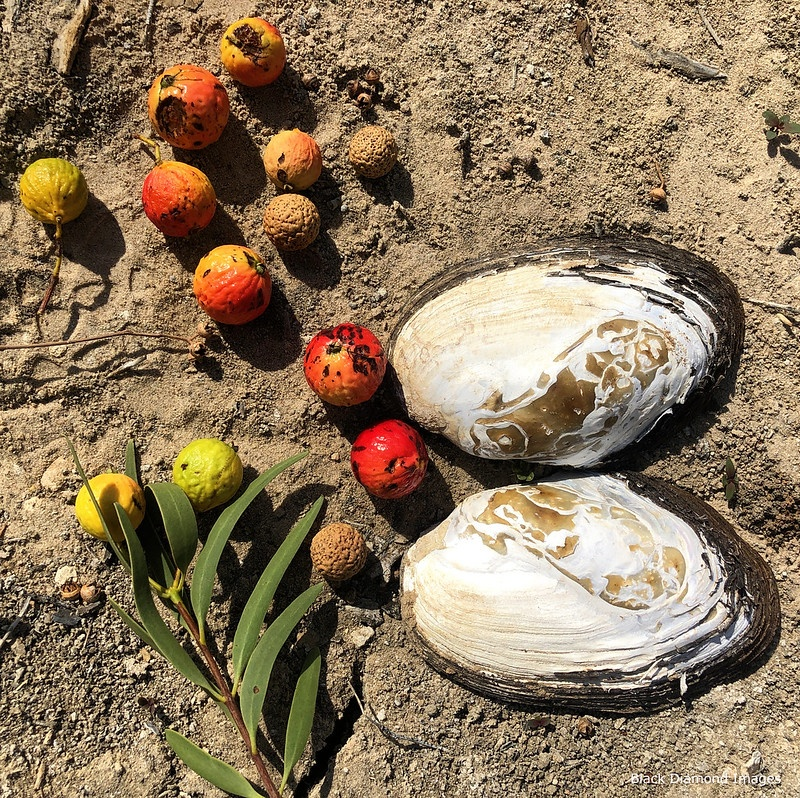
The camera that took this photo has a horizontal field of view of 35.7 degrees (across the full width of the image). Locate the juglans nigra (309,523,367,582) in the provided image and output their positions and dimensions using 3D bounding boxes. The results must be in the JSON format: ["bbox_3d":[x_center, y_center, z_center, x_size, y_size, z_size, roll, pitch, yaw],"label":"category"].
[{"bbox_3d":[-0.257,0.648,5.160,0.234,0.199,0.231,-28,81,9],"label":"juglans nigra"}]

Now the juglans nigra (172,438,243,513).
[{"bbox_3d":[-0.777,0.278,5.081,0.285,0.186,0.290,46,80,-6],"label":"juglans nigra"}]

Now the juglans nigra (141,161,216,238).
[{"bbox_3d":[-0.897,-0.799,5.125,0.244,0.304,0.219,-37,15,-10],"label":"juglans nigra"}]

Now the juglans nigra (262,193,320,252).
[{"bbox_3d":[-0.440,-0.706,5.163,0.220,0.163,0.279,-19,46,0],"label":"juglans nigra"}]

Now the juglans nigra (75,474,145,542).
[{"bbox_3d":[-1.156,0.441,5.086,0.259,0.297,0.272,-31,98,-29],"label":"juglans nigra"}]

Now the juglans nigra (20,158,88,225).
[{"bbox_3d":[-1.400,-0.839,5.046,0.201,0.306,0.162,-4,14,-17],"label":"juglans nigra"}]

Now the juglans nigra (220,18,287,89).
[{"bbox_3d":[-0.596,-1.403,5.072,0.216,0.284,0.253,5,14,3],"label":"juglans nigra"}]

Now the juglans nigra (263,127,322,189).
[{"bbox_3d":[-0.449,-0.996,5.181,0.222,0.249,0.323,-7,59,-5],"label":"juglans nigra"}]
